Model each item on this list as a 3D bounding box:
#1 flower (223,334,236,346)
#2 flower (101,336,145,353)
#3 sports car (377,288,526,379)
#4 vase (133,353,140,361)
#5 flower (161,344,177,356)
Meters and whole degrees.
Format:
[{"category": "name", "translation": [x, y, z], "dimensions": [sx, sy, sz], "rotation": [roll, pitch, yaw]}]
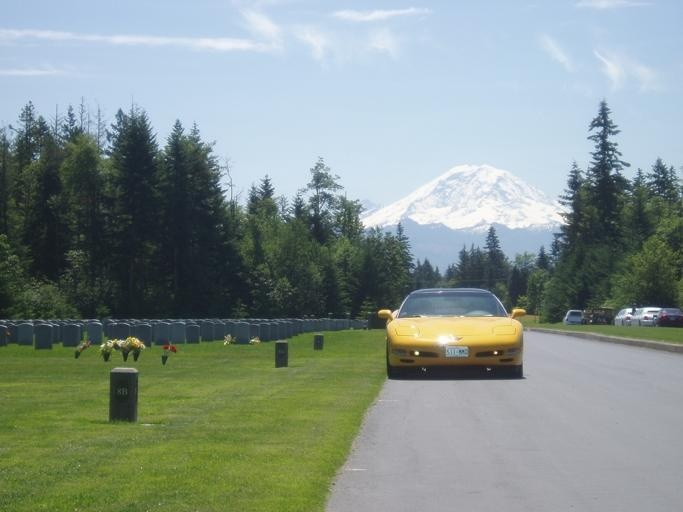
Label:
[{"category": "flower", "translation": [-4.161, 3.090, 41.928], "dimensions": [0.331, 0.349, 0.132], "rotation": [3, -8, -7]}, {"category": "flower", "translation": [-6.541, 2.659, 34.111], "dimensions": [0.758, 0.354, 0.799], "rotation": [-2, -1, 2]}, {"category": "sports car", "translation": [2.842, 2.019, 28.598], "dimensions": [3.363, 2.126, 2.472], "rotation": [-1, 5, 6]}, {"category": "vase", "translation": [-6.170, 3.032, 34.149], "dimensions": [0.204, 0.185, 0.222], "rotation": [0, -15, -18]}, {"category": "flower", "translation": [-5.361, 2.903, 35.213], "dimensions": [0.374, 0.444, 0.438], "rotation": [-6, -25, -10]}]
